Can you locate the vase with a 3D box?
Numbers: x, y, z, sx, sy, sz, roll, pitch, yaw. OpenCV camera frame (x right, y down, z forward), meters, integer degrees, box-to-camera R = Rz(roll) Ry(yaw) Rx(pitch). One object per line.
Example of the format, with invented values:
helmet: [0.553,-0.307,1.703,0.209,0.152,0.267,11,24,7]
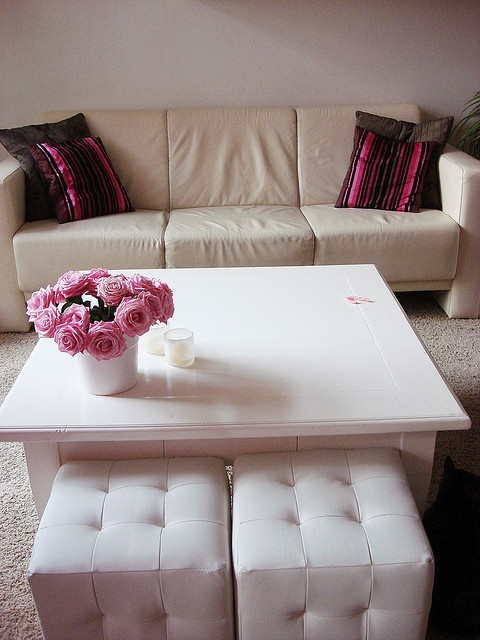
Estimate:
vase: [-0.284,0.116,1.181,0.118,0.119,0.122,19,35,24]

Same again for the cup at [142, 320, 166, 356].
cup: [-0.217,0.047,1.429,0.069,0.086,0.075,1,20,0]

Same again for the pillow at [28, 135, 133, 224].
pillow: [-0.739,-0.639,2.473,0.120,0.417,0.410,-22,-3,42]

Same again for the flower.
flower: [-0.301,-0.003,1.144,0.294,0.164,0.226,7,31,6]

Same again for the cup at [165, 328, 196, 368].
cup: [-0.142,0.070,1.351,0.075,0.092,0.084,0,24,2]

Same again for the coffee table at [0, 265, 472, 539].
coffee table: [0.057,0.122,1.486,0.707,0.392,0.777,-2,34,-1]

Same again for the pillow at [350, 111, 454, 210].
pillow: [0.937,-0.754,2.771,0.448,0.488,0.140,7,2,32]
